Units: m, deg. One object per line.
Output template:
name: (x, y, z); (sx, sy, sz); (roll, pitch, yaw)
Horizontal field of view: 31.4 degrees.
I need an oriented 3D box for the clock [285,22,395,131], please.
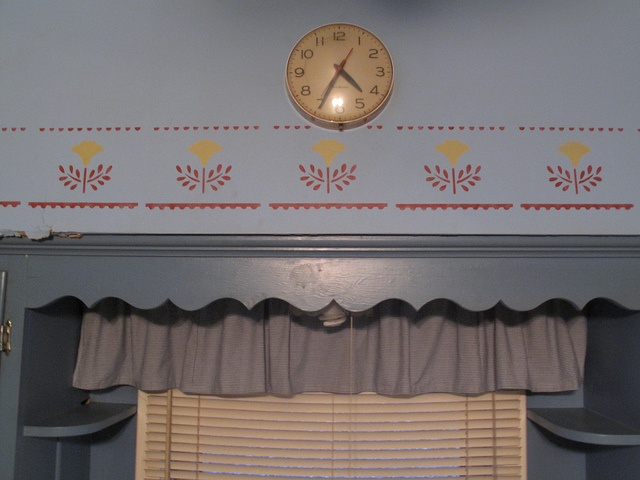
clock: (0.112, -0.831, 5.978); (0.447, 0.492, 0.036); (9, -4, 2)
